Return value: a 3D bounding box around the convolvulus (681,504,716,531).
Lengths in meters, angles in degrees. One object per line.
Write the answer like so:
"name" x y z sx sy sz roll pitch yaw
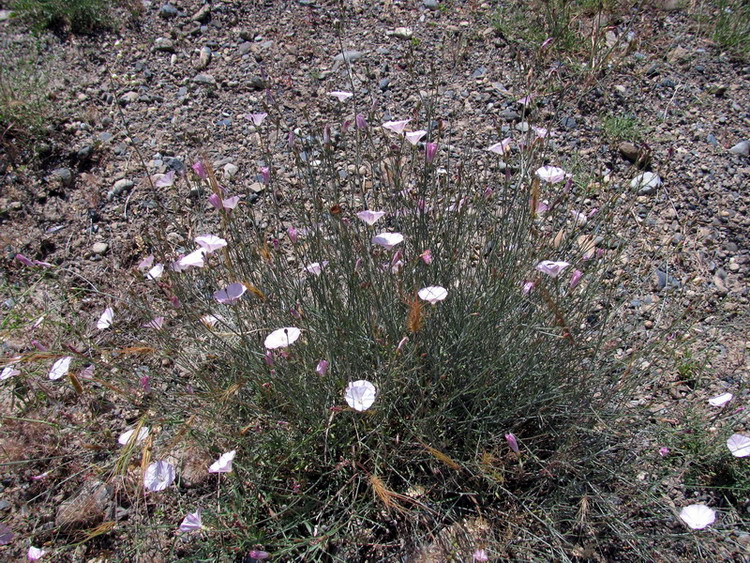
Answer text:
"convolvulus" 1.693 1.240 3.416 0.131 0.056 0.137 -27 36 8

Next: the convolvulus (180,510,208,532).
"convolvulus" -0.944 1.260 3.450 0.077 0.125 0.141 21 63 1
